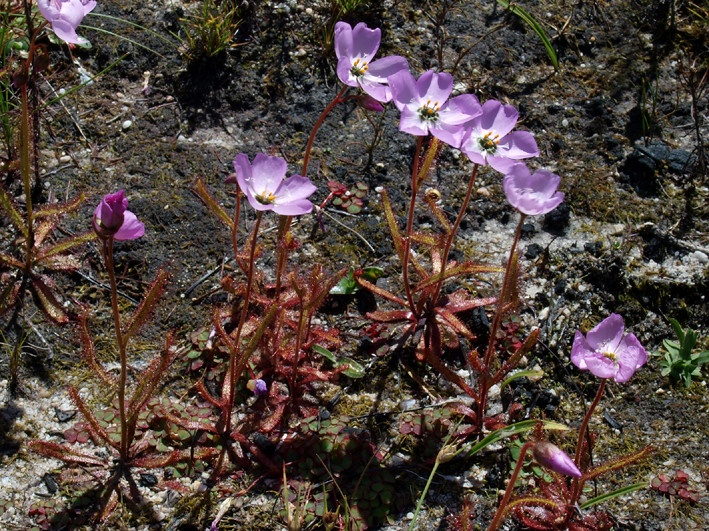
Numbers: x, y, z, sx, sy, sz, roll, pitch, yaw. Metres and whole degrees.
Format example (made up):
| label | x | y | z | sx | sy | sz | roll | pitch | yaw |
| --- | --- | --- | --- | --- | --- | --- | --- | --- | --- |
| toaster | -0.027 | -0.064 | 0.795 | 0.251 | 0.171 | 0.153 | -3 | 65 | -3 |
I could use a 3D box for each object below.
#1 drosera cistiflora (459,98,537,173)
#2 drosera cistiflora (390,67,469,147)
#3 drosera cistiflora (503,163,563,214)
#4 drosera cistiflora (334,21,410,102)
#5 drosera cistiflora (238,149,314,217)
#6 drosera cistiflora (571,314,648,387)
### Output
| label | x | y | z | sx | sy | sz | roll | pitch | yaw |
| --- | --- | --- | --- | --- | --- | --- | --- | --- | --- |
| drosera cistiflora | 0.876 | -0.720 | 5.212 | 0.464 | 0.210 | 0.464 | 37 | 64 | 1 |
| drosera cistiflora | 0.495 | -0.980 | 5.071 | 0.589 | 0.236 | 0.448 | 6 | 51 | -7 |
| drosera cistiflora | 1.041 | -0.436 | 4.800 | 0.350 | 0.217 | 0.252 | 17 | 49 | 2 |
| drosera cistiflora | 0.104 | -1.304 | 5.158 | 0.475 | 0.330 | 0.400 | 7 | 49 | -5 |
| drosera cistiflora | -0.446 | -0.525 | 4.679 | 0.369 | 0.177 | 0.370 | 48 | 41 | 8 |
| drosera cistiflora | 1.519 | 0.542 | 4.908 | 0.389 | 0.282 | 0.502 | -7 | 29 | 8 |
